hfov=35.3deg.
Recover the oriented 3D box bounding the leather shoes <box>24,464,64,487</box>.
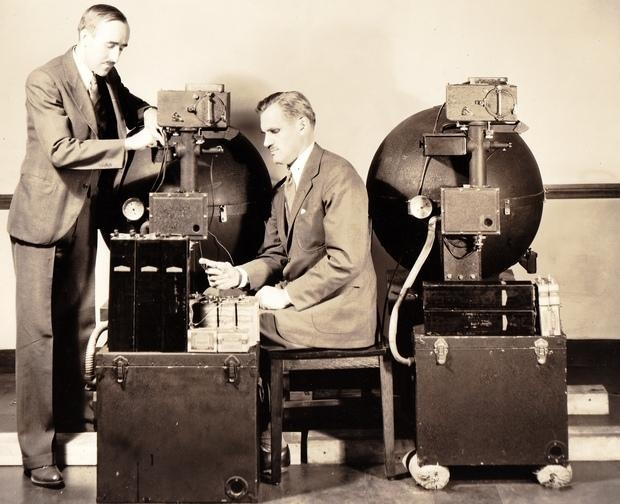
[{"bbox_3d":[-1.289,1.076,4.691,0.218,0.095,0.075,-4,-2,28],"label":"leather shoes"}]

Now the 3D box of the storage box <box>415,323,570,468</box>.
[{"bbox_3d":[0.852,0.648,4.548,0.611,0.544,0.612,-1,-2,12],"label":"storage box"}]

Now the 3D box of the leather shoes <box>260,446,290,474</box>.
[{"bbox_3d":[-0.171,1.003,4.686,0.092,0.144,0.042,0,18,-13],"label":"leather shoes"}]

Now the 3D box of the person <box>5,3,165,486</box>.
[{"bbox_3d":[-1.146,-0.021,4.850,0.676,2.294,0.698,2,-2,-10],"label":"person"}]

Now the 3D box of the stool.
[{"bbox_3d":[0.082,0.751,4.869,0.657,0.682,0.608,-1,-4,-1],"label":"stool"}]
